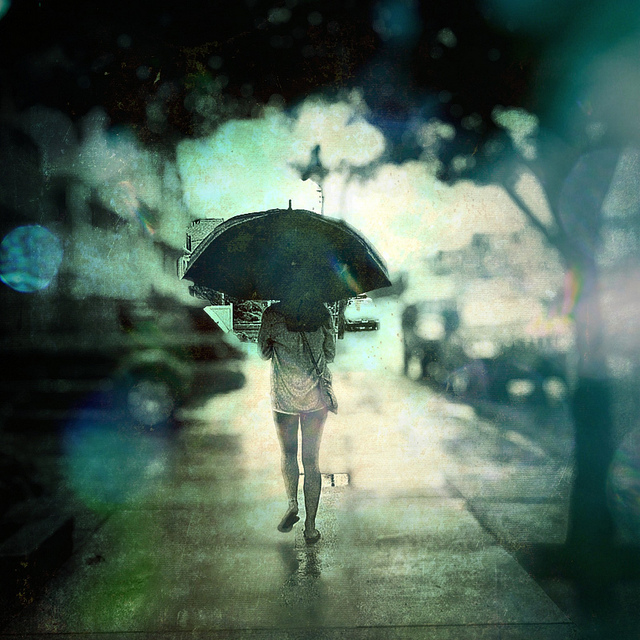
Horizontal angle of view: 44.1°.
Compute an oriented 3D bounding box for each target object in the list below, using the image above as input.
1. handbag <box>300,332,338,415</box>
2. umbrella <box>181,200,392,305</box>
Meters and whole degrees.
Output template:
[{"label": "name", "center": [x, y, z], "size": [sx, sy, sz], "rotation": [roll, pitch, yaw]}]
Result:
[{"label": "handbag", "center": [-0.001, 0.454, 6.732], "size": [0.109, 0.691, 0.347], "rotation": [-2, 0, 38]}, {"label": "umbrella", "center": [-0.202, -0.649, 7.199], "size": [1.706, 0.883, 1.893], "rotation": [0, 6, 30]}]
